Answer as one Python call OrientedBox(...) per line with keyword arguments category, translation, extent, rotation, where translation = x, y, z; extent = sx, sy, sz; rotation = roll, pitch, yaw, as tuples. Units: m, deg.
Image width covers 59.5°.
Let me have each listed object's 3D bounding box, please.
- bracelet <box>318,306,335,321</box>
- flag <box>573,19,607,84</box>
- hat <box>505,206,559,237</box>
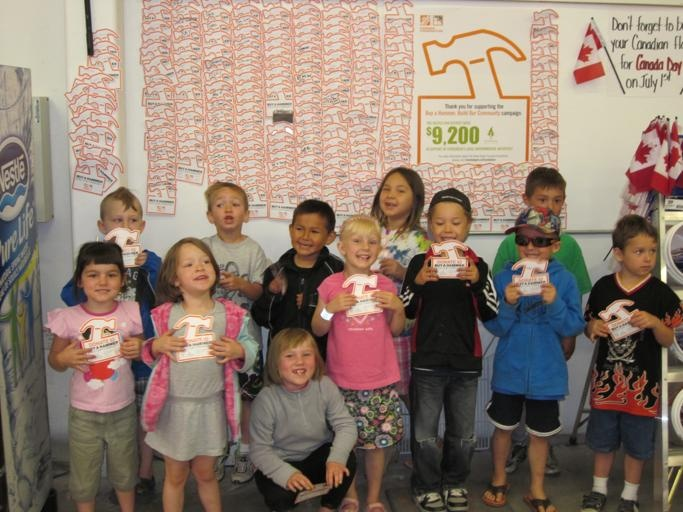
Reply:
OrientedBox(category="bracelet", translation=(-0.080, 0.309, 3.224), extent=(0.069, 0.050, 0.068), rotation=(13, -3, 29))
OrientedBox(category="flag", translation=(1.795, -1.475, 4.317), extent=(0.241, 0.442, 0.027), rotation=(-1, 4, -13))
OrientedBox(category="hat", translation=(1.133, -0.202, 3.467), extent=(0.258, 0.172, 0.125), rotation=(1, 3, 9))
